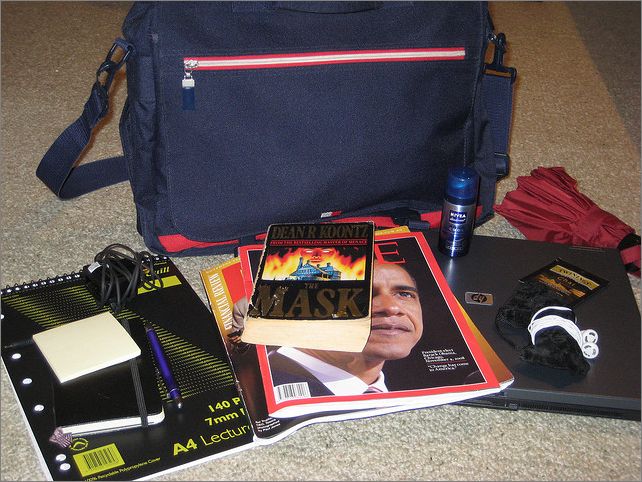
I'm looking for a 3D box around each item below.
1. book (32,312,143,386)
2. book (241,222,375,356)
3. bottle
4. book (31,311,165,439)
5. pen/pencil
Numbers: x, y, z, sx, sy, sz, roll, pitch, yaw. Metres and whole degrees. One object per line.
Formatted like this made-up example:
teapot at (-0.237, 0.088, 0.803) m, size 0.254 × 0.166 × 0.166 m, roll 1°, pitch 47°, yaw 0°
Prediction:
book at (-0.322, 0.161, 0.808) m, size 0.096 × 0.013 × 0.087 m, roll -23°, pitch 48°, yaw -27°
book at (-0.008, 0.044, 0.841) m, size 0.137 × 0.048 × 0.185 m, roll 2°, pitch 43°, yaw 10°
bottle at (0.216, -0.043, 0.914) m, size 0.056 × 0.134 × 0.064 m, roll -8°, pitch 29°, yaw -20°
book at (-0.290, 0.179, 0.761) m, size 0.140 × 0.028 × 0.200 m, roll -19°, pitch 37°, yaw -30°
pen/pencil at (-0.220, 0.167, 0.806) m, size 0.015 × 0.016 × 0.156 m, roll 10°, pitch 29°, yaw -40°
